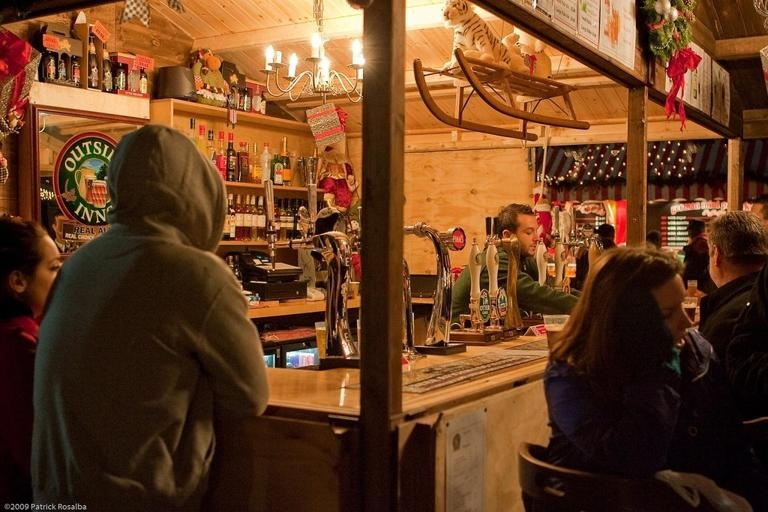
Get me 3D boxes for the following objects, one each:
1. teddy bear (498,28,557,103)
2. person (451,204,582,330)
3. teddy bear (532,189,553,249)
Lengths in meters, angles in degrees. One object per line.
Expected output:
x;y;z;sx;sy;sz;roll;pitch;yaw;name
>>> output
0.856;-1.248;3.536;0.341;0.493;0.214;-6;6;-14;teddy bear
0.892;0.057;3.876;1.101;0.774;0.708;3;-14;-4;person
1.362;-0.316;5.066;0.172;0.691;0.231;-4;20;8;teddy bear
